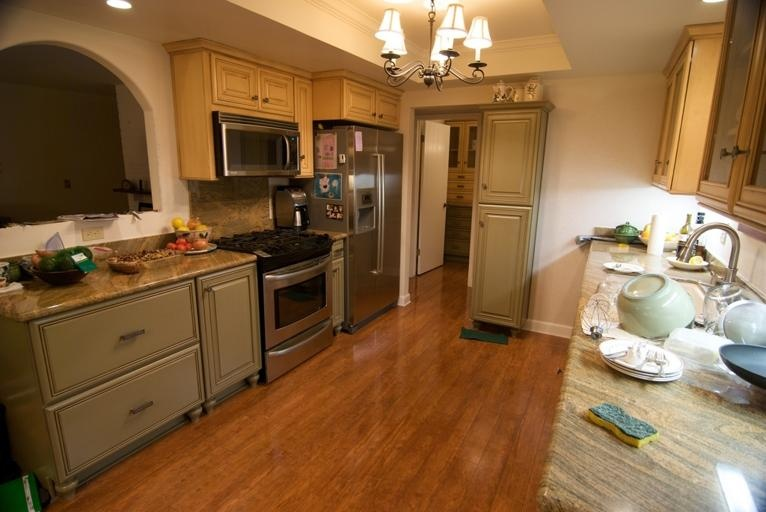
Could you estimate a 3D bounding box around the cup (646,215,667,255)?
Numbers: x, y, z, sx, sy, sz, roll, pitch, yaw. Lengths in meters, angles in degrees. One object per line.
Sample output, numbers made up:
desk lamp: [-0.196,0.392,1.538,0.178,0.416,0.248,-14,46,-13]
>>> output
cup: [2.255,-0.186,4.098,0.164,0.439,0.167,-14,32,9]

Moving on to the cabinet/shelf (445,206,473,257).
cabinet/shelf: [1.241,-0.614,8.119,0.458,0.302,0.816,8,20,6]

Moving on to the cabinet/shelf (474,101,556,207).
cabinet/shelf: [1.209,-0.940,4.934,0.631,1.092,0.369,0,14,-4]

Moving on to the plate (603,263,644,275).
plate: [1.775,0.090,3.641,0.268,0.034,0.211,5,14,24]

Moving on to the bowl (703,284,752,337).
bowl: [1.929,0.282,2.812,0.283,0.265,0.138,-11,17,-37]

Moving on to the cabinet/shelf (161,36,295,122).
cabinet/shelf: [-1.199,-1.462,4.238,0.377,0.482,1.301,3,10,27]

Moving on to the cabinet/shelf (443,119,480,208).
cabinet/shelf: [1.230,-1.500,7.796,0.633,1.416,0.389,-2,33,-1]

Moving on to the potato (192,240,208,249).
potato: [-1.479,-0.104,3.982,0.121,0.073,0.072,-7,14,-24]

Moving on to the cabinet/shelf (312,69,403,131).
cabinet/shelf: [-0.210,-1.616,5.215,0.373,0.446,1.332,5,11,25]

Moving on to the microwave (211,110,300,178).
microwave: [-1.094,-0.945,4.251,0.275,0.496,0.850,7,12,35]

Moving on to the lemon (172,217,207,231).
lemon: [-1.594,-0.262,4.045,0.161,0.090,0.154,0,3,-6]

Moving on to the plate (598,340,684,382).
plate: [1.329,0.546,2.559,0.248,0.053,0.246,5,16,26]

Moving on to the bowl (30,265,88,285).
bowl: [-2.108,0.102,3.220,0.171,0.058,0.176,1,11,0]

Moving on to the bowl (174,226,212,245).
bowl: [-1.542,-0.180,4.000,0.185,0.113,0.182,-2,6,0]

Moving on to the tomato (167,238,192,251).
tomato: [-1.625,-0.090,3.925,0.123,0.051,0.121,-2,16,-23]

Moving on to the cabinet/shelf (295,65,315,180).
cabinet/shelf: [-0.715,-1.229,4.707,0.178,0.913,0.090,14,26,28]

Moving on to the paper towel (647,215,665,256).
paper towel: [2.240,-0.213,4.048,0.141,0.272,0.144,-2,10,26]
